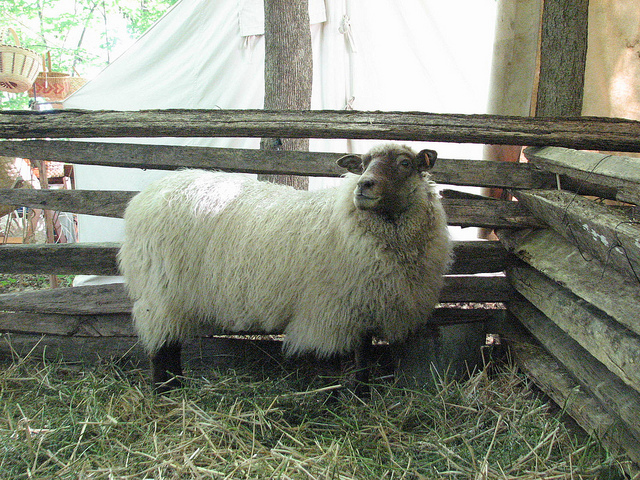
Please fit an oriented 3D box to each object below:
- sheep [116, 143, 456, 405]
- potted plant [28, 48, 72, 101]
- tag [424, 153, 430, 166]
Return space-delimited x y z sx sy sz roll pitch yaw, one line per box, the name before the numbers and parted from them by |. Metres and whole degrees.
sheep | -0.349 0.443 7.177 4.042 2.890 1.427 2 4 18
potted plant | -4.593 -2.813 11.123 0.952 0.808 0.624 3 7 0
tag | 1.108 -0.833 6.660 0.035 0.125 0.032 -15 -16 16
